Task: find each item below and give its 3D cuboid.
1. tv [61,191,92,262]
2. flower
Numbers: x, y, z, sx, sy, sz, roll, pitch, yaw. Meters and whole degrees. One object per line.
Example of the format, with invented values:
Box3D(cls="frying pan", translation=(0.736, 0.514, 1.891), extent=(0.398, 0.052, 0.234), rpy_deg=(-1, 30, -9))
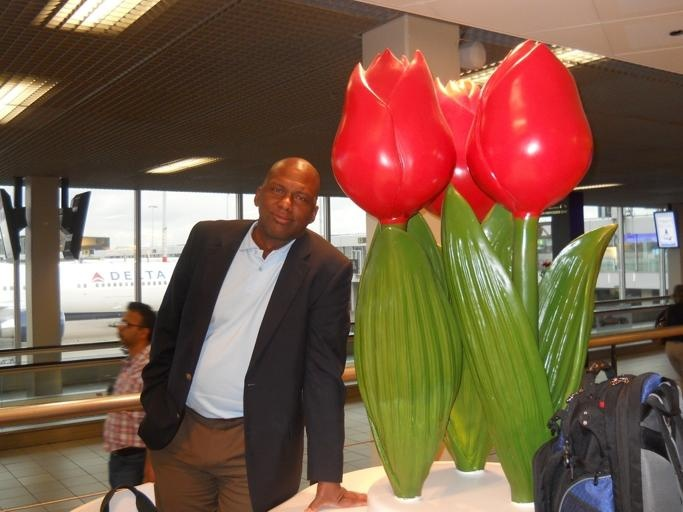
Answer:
Box3D(cls="tv", translation=(-4.963, -0.584, 9.517), extent=(0.419, 1.297, 0.770), rpy_deg=(0, 0, -20))
Box3D(cls="flower", translation=(0.382, 0.045, 1.768), extent=(0.800, 1.639, 0.821), rpy_deg=(0, -1, 21))
